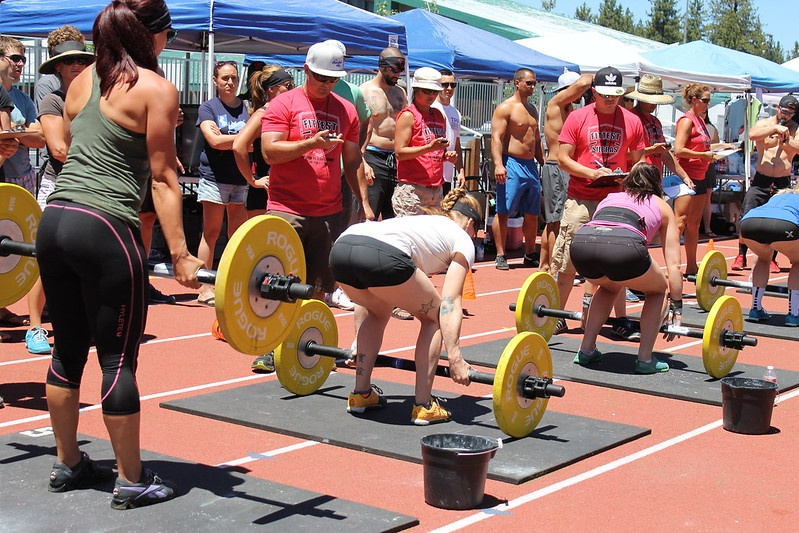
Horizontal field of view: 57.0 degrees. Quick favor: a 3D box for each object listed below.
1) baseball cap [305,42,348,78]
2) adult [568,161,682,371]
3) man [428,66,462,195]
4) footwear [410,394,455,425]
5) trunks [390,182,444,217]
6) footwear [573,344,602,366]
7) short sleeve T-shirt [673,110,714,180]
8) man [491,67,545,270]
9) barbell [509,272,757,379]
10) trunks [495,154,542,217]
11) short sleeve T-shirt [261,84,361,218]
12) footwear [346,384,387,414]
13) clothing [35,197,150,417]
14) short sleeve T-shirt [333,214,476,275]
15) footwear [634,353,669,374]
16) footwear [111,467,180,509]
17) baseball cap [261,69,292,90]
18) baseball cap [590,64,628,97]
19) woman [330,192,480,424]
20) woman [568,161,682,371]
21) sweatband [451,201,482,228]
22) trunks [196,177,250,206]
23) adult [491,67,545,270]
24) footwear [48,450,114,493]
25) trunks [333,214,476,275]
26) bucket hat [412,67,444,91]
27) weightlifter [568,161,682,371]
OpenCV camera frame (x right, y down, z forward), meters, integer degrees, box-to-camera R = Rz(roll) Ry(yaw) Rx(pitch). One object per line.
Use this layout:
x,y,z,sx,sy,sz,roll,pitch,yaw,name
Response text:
-0.631,-1.815,6.449,0.348,0.229,0.425,1,35,-4,baseball cap
2.276,0.022,7.354,0.861,2.075,0.832,-7,13,-40,adult
0.806,-2.055,11.722,0.385,1.379,0.384,-27,28,-38,man
0.271,1.158,5.953,0.350,0.172,0.164,-1,3,-39,footwear
0.154,-0.897,9.595,0.275,0.457,0.479,-14,9,-21,trunks
1.985,0.925,7.724,0.134,0.162,0.376,6,10,43,footwear
4.855,-2.072,12.152,0.472,0.890,0.556,-5,6,11,short sleeve T-shirt
2.056,-1.624,12.797,0.760,3.460,1.456,8,12,30,man
2.290,0.578,7.646,2.531,0.773,0.787,6,10,37,barbell
2.046,-1.398,12.696,1.039,1.351,0.666,-4,4,-36,trunks
-0.810,-1.068,6.774,0.943,1.141,0.541,-5,25,-27,short sleeve T-shirt
-0.275,1.112,6.224,0.164,0.162,0.359,5,7,39,footwear
-1.844,0.232,4.417,0.651,1.233,0.311,5,11,17,clothing
0.153,-0.215,5.617,0.721,0.276,0.534,10,14,-15,short sleeve T-shirt
2.544,0.970,7.393,0.312,0.141,0.157,-4,7,-30,footwear
-1.563,1.376,4.572,0.442,0.203,0.155,3,3,-42,footwear
-1.337,-1.983,8.052,0.264,0.148,0.215,-20,27,14,baseball cap
2.380,-2.093,8.362,0.326,0.335,0.274,4,11,14,baseball cap
0.047,0.297,6.071,1.285,1.837,1.519,5,2,40,woman
2.276,0.022,7.354,0.861,2.075,0.832,-7,13,-40,woman
0.571,-0.421,5.986,0.241,0.102,0.180,36,-9,-31,sweatband
-2.270,-0.932,9.444,0.562,0.398,0.353,-1,6,-38,trunks
2.053,-1.623,12.792,0.760,3.460,1.443,8,12,30,adult
-2.039,1.304,4.732,0.177,0.210,0.443,1,-2,39,footwear
0.012,-0.228,5.814,0.890,0.355,0.677,-1,-13,18,trunks
0.332,-2.263,9.007,0.305,0.161,0.292,5,9,14,bucket hat
2.276,0.022,7.354,0.861,2.075,0.832,-7,13,-40,weightlifter
